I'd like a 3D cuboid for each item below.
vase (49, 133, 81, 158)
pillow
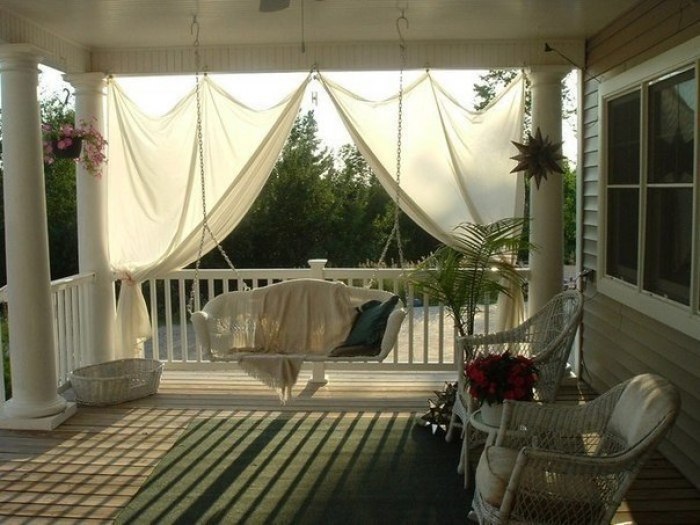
[{"bbox_3d":[-2.361,-0.953,5.333,0.245,0.201,0.186,-3,14,-10],"label":"vase"},{"bbox_3d":[0.144,0.486,5.175,0.426,0.376,0.713,6,15,23],"label":"pillow"}]
